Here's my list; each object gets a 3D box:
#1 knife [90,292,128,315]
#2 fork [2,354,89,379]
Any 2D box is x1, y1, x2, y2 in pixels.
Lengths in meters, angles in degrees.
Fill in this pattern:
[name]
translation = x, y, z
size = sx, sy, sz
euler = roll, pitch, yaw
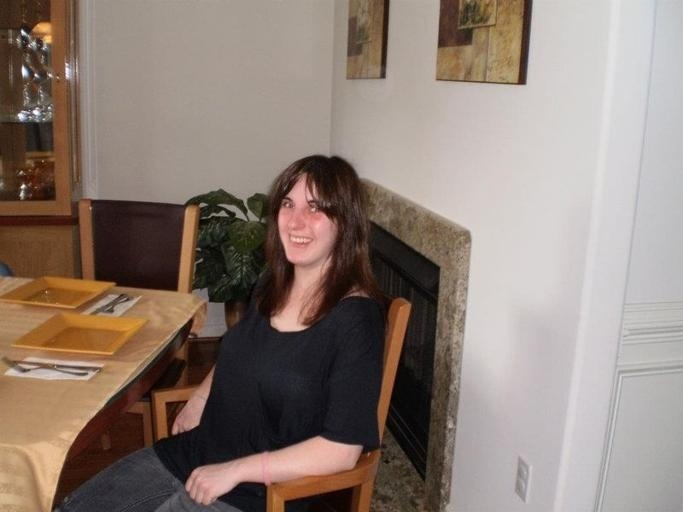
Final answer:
[knife]
translation = -0.816, 0.165, 1.875
size = 0.032, 0.020, 0.148
euler = 11, 14, 9
[fork]
translation = -0.801, 0.314, 1.471
size = 0.169, 0.030, 0.099
euler = 3, 13, -5
